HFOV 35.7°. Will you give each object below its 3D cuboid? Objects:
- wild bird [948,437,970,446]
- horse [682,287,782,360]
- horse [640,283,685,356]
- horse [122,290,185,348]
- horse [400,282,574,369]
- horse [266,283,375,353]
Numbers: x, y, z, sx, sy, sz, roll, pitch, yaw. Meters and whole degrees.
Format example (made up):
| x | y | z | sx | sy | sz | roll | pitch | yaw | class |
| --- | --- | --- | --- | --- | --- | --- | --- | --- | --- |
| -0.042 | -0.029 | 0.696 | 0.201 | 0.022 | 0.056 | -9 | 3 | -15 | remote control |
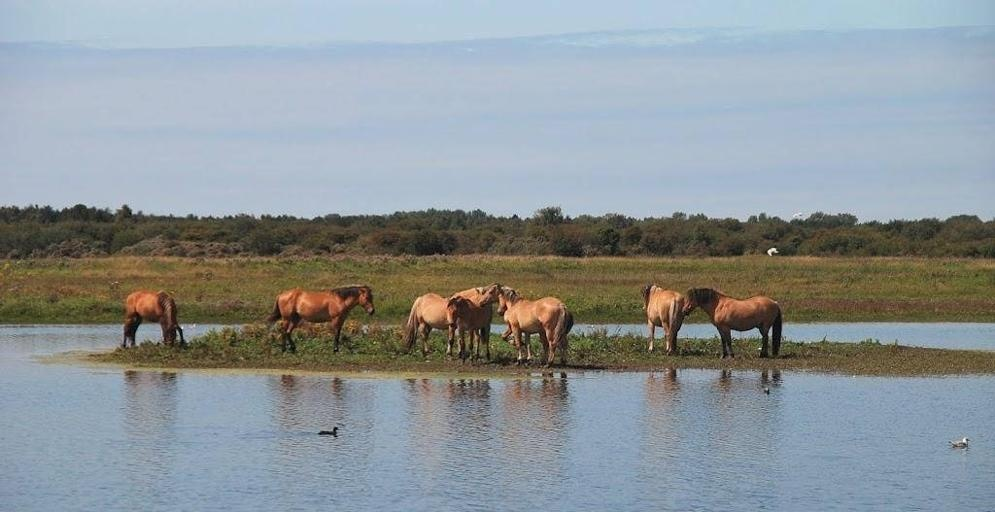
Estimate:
| x | y | z | sx | sy | sz | roll | pitch | yaw | class |
| --- | --- | --- | --- | --- | --- | --- | --- | --- | --- |
| 28.712 | 11.669 | 95.800 | 1.241 | 0.687 | 0.797 | 2 | -2 | -35 | wild bird |
| 16.571 | 4.697 | 107.152 | 6.218 | 4.733 | 2.045 | 1 | -1 | 4 | horse |
| 11.908 | 4.504 | 109.692 | 2.301 | 4.680 | 8.371 | -3 | 0 | -8 | horse |
| -24.216 | 4.494 | 108.731 | 4.055 | 3.964 | 4.323 | 2 | -2 | -15 | horse |
| 0.886 | 4.755 | 105.156 | 8.288 | 5.537 | 3.373 | 1 | -1 | 1 | horse |
| -12.530 | 4.408 | 107.787 | 6.603 | 4.597 | 3.014 | 1 | -1 | -5 | horse |
